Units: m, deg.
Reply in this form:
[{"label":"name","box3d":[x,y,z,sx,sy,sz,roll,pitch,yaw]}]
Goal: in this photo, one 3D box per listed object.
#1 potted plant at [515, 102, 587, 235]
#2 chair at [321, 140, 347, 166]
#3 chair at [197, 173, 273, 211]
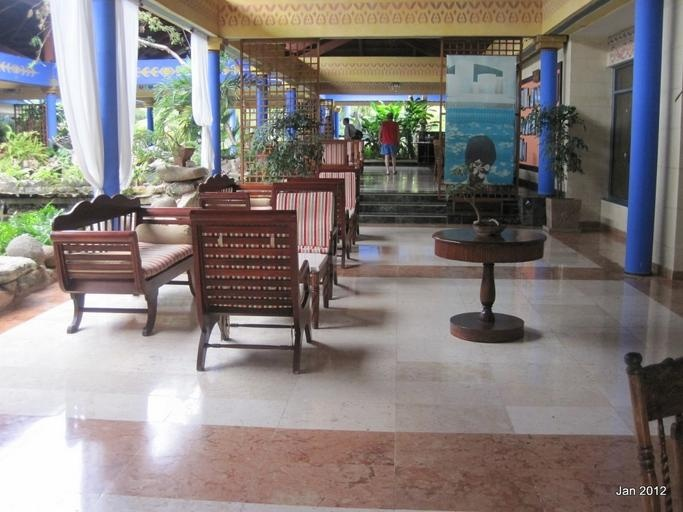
[{"label":"potted plant","box3d":[3.873,-1.645,9.808,1.118,2.176,1.418,4,14,21]},{"label":"chair","box3d":[-0.183,-2.402,12.405,0.595,0.525,0.520,0,13,3]},{"label":"chair","box3d":[-1.360,-0.801,6.994,0.840,0.475,2.747,-3,12,-8]}]
